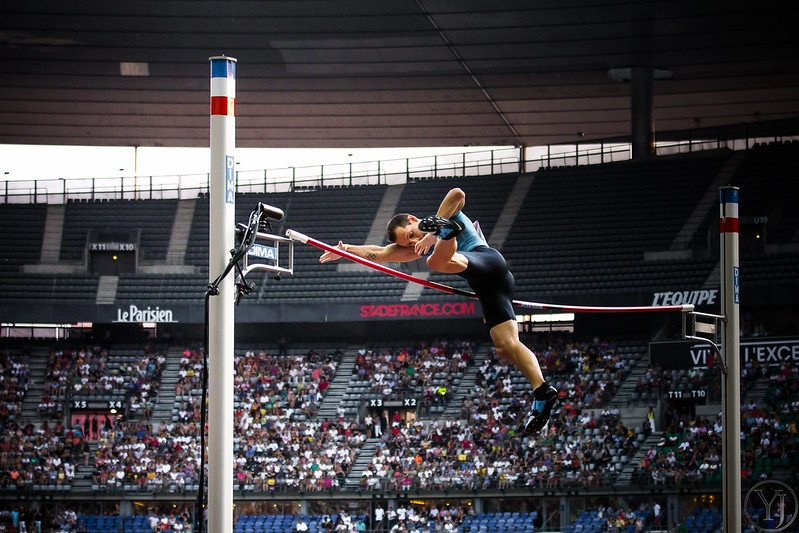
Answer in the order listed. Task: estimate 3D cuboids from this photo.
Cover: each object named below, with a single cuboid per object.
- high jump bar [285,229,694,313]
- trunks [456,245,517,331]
[{"bbox_3d":[4.018,0.265,74.454,14.852,0.411,2.080,6,29,26],"label":"high jump bar"},{"bbox_3d":[2.836,0.652,60.336,0.652,2.204,2.228,1,34,34],"label":"trunks"}]
